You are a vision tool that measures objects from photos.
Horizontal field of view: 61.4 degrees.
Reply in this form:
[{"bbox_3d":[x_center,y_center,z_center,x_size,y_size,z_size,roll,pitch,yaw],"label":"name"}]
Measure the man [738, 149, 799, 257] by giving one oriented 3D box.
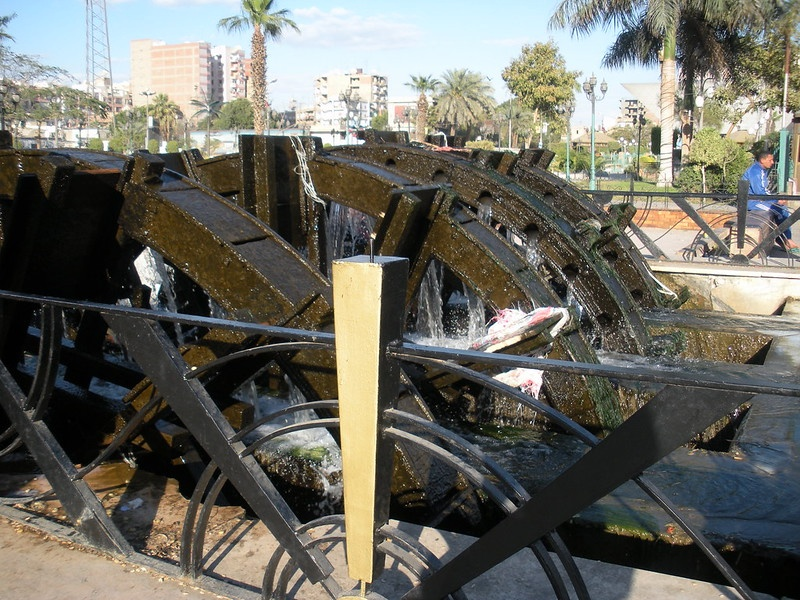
[{"bbox_3d":[6.052,-1.626,10.910,0.905,1.626,2.427,6,12,26],"label":"man"}]
